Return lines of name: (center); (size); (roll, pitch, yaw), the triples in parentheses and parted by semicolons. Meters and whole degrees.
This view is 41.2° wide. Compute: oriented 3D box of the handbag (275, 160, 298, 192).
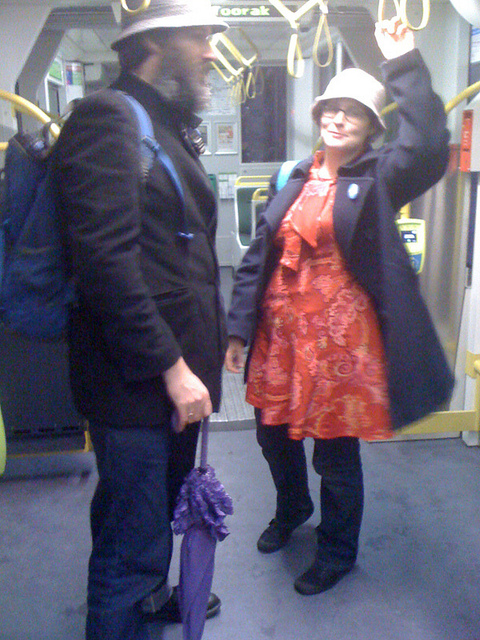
handbag: (0.134, -0.454, 1.953); (0.031, 0.102, 0.065); (13, -5, 41)

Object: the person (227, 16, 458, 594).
person: (0.282, 0.052, 1.852); (0.675, 1.639, 0.352); (7, 13, 37)

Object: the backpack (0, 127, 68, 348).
backpack: (-0.418, -0.156, 1.248); (0.132, 0.446, 0.273); (-4, 12, -18)

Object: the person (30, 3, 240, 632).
person: (-0.193, 0.055, 1.304); (0.400, 1.327, 0.301); (-4, 11, -17)
